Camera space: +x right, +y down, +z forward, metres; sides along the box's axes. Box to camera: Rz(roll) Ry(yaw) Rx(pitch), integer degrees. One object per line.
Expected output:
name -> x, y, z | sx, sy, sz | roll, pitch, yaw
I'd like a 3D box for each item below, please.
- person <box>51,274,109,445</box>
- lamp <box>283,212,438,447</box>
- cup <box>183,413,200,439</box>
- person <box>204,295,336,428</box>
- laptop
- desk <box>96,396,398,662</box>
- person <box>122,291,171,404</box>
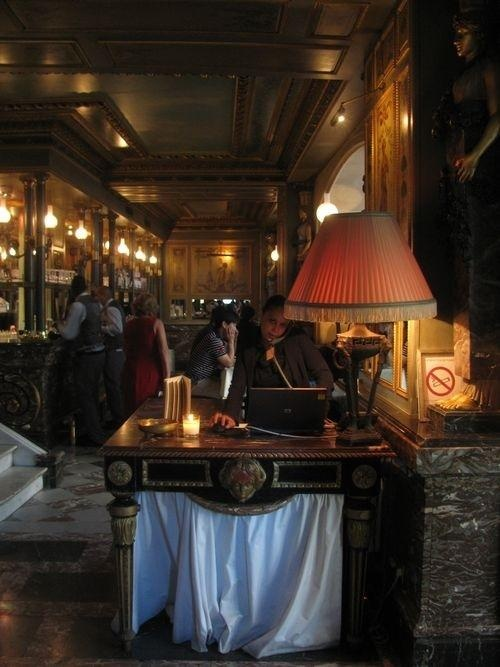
person -> -1.884, 0.304, 6.239 | 0.502, 1.895, 1.123 | 1, -2, -15
lamp -> 0.417, -0.147, 2.294 | 0.622, 0.888, 0.625 | -7, 8, -41
cup -> -0.262, 0.419, 2.525 | 0.091, 0.094, 0.087 | 2, 0, 0
person -> 0.128, 0.102, 2.972 | 0.641, 1.029, 0.644 | 0, 3, 3
laptop -> 0.162, 0.338, 2.506 | 0.316, 0.199, 0.211 | 1, 21, 1
desk -> -0.005, 0.847, 2.585 | 1.148, 0.693, 0.953 | 2, 7, 2
person -> -0.928, 0.184, 4.937 | 0.404, 1.107, 0.291 | 1, -2, -11
